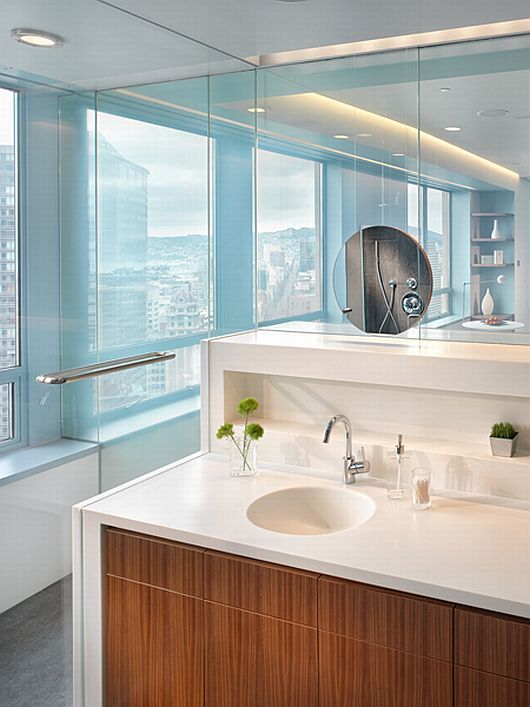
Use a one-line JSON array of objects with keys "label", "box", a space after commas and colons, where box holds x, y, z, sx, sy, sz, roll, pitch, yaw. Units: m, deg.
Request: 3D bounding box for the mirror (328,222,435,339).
[{"label": "mirror", "box": [0.411, -0.261, 2.121, 0.408, 0.426, 0.044, 3, 9, 36]}]

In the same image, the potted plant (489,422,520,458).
[{"label": "potted plant", "box": [0.686, 0.252, 1.798, 0.093, 0.106, 0.090, -1, -4, 17]}]

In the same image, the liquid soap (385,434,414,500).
[{"label": "liquid soap", "box": [0.405, 0.343, 1.904, 0.059, 0.173, 0.154, 1, 7, 13]}]

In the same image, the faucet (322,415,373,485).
[{"label": "faucet", "box": [0.259, 0.310, 1.940, 0.091, 0.225, 0.188, 2, 7, 26]}]

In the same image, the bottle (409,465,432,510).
[{"label": "bottle", "box": [0.445, 0.388, 1.780, 0.048, 0.104, 0.074, 0, 7, 10]}]
